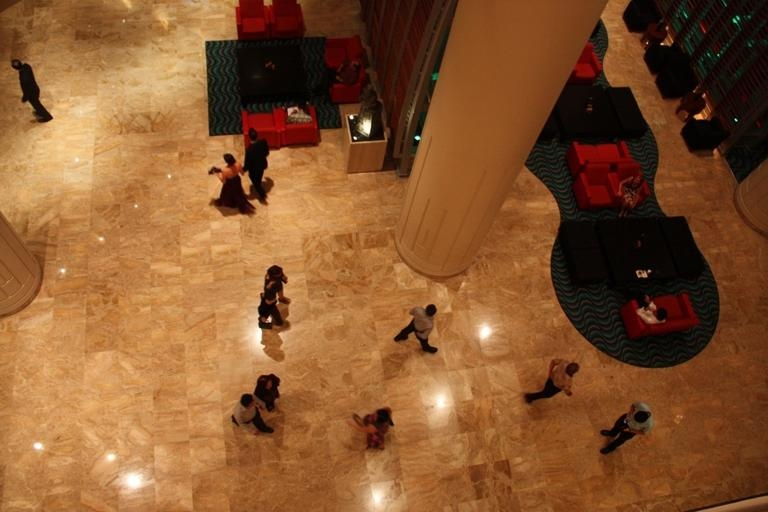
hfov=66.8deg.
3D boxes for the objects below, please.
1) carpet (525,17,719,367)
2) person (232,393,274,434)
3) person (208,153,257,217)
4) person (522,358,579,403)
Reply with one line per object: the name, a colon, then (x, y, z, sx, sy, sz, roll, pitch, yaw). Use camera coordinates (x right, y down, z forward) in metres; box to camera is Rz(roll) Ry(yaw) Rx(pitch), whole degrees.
carpet: (5.736, -0.489, 14.471, 3.850, 0.490, 6.707, -2, 67, -5)
person: (-2.524, 3.102, 11.351, 0.595, 0.802, 0.400, 35, 77, 3)
person: (-3.485, -1.576, 13.524, 0.890, 1.188, 0.613, 43, 67, 3)
person: (3.487, 2.683, 12.236, 0.484, 0.983, 0.405, -13, 84, -6)
